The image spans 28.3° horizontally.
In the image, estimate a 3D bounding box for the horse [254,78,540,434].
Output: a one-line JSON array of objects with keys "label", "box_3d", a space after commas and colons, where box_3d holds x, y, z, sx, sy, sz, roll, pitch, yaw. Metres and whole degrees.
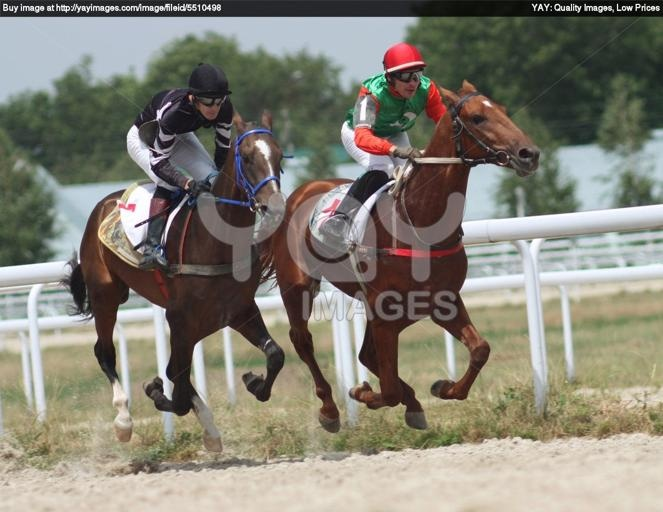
[{"label": "horse", "box_3d": [0.329, 0.119, 11.429, 0.917, 2.981, 4.217, -6, 4, -31]}]

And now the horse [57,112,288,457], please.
[{"label": "horse", "box_3d": [-1.307, 0.232, 11.377, 0.906, 3.052, 3.497, -4, 6, -38]}]

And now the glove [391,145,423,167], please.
[{"label": "glove", "box_3d": [0.594, -0.821, 10.691, 0.214, 0.099, 0.126, 12, 0, 10]}]

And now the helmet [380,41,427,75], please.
[{"label": "helmet", "box_3d": [0.573, -1.647, 10.785, 0.344, 0.234, 0.238, -7, 2, 3]}]

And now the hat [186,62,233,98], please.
[{"label": "hat", "box_3d": [-1.043, -1.468, 10.921, 0.400, 0.298, 0.550, 4, 5, 19]}]

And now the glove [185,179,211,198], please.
[{"label": "glove", "box_3d": [-1.107, -0.583, 10.867, 0.125, 0.077, 0.170, -19, 28, 24]}]

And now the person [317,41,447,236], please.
[{"label": "person", "box_3d": [0.569, -0.929, 11.211, 0.962, 1.821, 1.219, -15, 30, -23]}]
